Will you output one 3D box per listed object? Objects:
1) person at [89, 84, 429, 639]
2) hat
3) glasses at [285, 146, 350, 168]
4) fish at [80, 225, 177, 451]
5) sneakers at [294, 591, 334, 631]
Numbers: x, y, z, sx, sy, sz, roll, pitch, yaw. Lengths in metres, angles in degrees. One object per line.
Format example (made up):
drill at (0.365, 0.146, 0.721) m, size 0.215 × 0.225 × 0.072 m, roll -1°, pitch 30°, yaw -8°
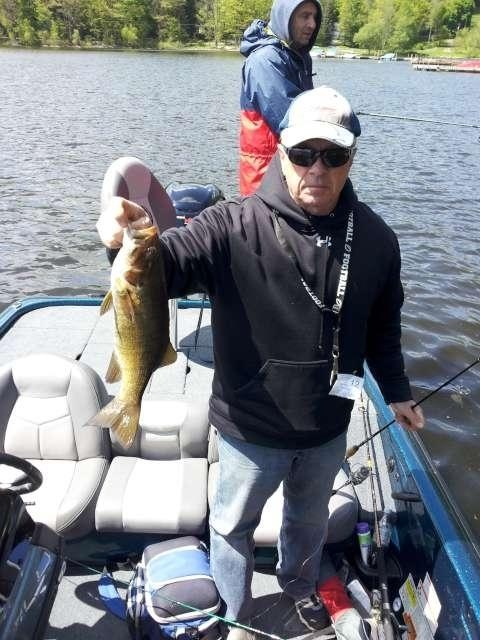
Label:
person at (0.172, 0.239, 1.861) m, size 0.687 × 1.888 × 0.747 m, roll 14°, pitch 30°, yaw 19°
hat at (0.240, -0.597, 1.610) m, size 0.242 × 0.160 × 0.271 m, roll 7°, pitch 27°, yaw 8°
glasses at (0.228, -0.469, 1.569) m, size 0.180 × 0.060 × 0.052 m, roll 5°, pitch 27°, yaw 3°
fish at (-0.277, 0.055, 1.414) m, size 0.211 × 0.669 × 0.212 m, roll 1°, pitch 28°, yaw -4°
sneakers at (0.293, 1.127, 2.094) m, size 0.103 × 0.050 × 0.129 m, roll -4°, pitch 42°, yaw -15°
